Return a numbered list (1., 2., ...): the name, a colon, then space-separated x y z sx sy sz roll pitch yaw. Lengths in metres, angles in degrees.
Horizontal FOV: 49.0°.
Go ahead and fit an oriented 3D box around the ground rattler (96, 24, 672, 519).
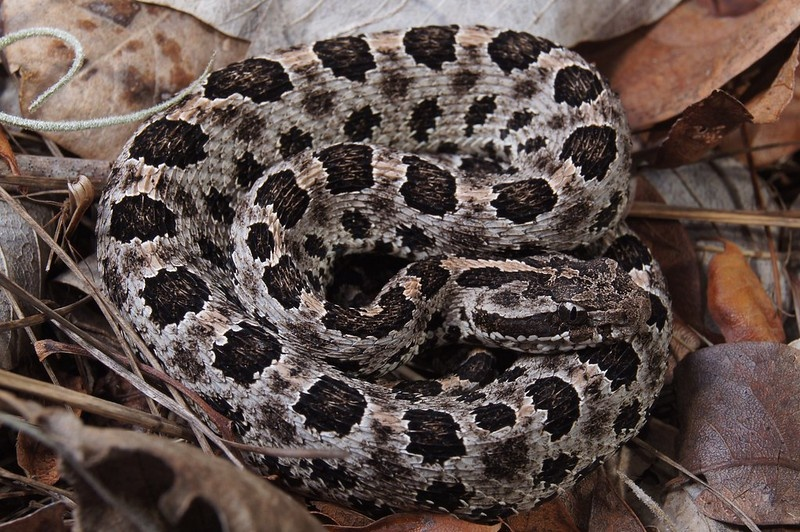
1. ground rattler: 0.022 -0.048 5.850 3.261 0.956 3.456 -36 86 -5
